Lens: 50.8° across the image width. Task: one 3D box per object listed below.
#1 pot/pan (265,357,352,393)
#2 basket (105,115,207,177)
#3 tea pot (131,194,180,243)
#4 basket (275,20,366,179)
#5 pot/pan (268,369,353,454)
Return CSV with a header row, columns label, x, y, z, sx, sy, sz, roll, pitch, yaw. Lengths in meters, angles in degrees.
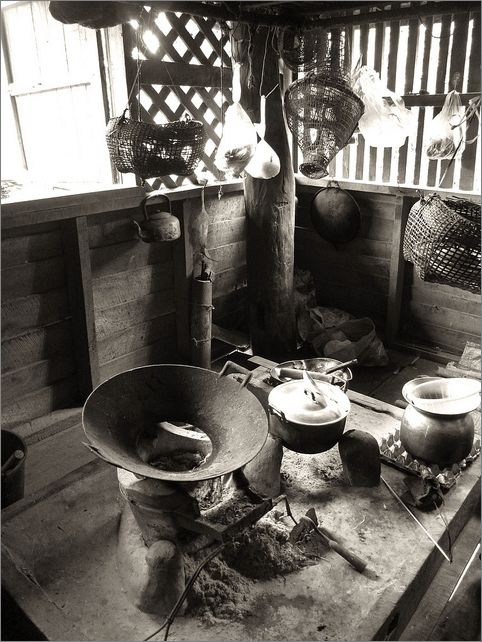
label,x,y,z,sx,sy,sz,roll,pitch,yaw
pot/pan,0.349,0.244,2.565,0.242,0.064,0.226,-2,22,31
basket,-0.399,-0.732,2.259,0.306,0.241,0.303,-15,25,-40
tea pot,-0.465,-0.563,2.795,0.244,0.305,0.206,-15,8,-38
basket,0.377,-0.967,2.267,0.341,0.610,0.418,5,24,13
pot/pan,0.272,0.350,2.019,0.313,0.276,0.353,1,25,3
